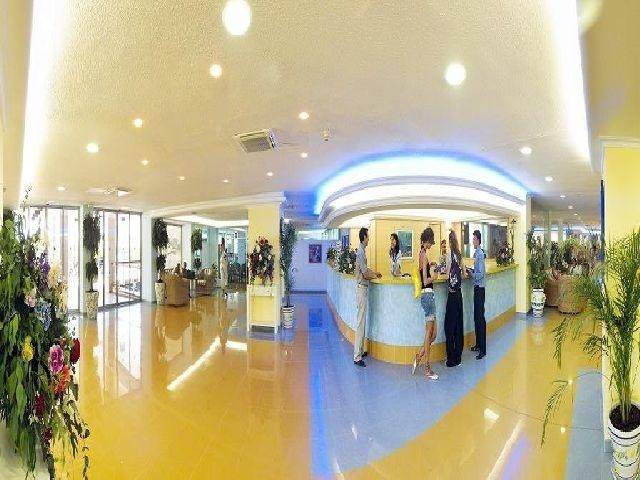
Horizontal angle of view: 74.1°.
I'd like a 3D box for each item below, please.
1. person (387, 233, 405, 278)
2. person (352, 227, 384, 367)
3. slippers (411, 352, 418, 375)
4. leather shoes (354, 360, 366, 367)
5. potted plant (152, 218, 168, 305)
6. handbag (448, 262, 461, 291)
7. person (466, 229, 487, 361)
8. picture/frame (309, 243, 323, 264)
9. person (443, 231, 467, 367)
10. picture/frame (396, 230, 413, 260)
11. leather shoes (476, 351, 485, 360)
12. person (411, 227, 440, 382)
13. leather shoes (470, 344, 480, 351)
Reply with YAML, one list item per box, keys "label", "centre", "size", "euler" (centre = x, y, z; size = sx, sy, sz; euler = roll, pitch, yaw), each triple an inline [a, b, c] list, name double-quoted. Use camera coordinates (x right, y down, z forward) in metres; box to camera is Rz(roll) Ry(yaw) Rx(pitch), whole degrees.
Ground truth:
- label: "person"
  centre: [1.338, 0.268, 7.439]
  size: [0.192, 0.841, 1.002]
  euler: [0, 5, 11]
- label: "person"
  centre: [0.740, 0.894, 7.071]
  size: [0.391, 2.215, 0.733]
  euler: [0, 5, 7]
- label: "slippers"
  centre: [1.466, 1.884, 6.536]
  size: [0.092, 0.310, 0.094]
  euler: [7, 0, -1]
- label: "leather shoes"
  centre: [0.646, 1.978, 6.884]
  size: [0.184, 0.064, 0.173]
  euler: [0, 5, 6]
- label: "potted plant"
  centre: [-4.964, 0.547, 13.151]
  size: [0.461, 2.478, 0.923]
  euler: [-2, 5, -15]
- label: "handbag"
  centre: [2.134, 0.584, 6.804]
  size: [0.227, 0.467, 0.182]
  euler: [3, 6, 38]
- label: "person"
  centre: [2.699, 0.890, 7.247]
  size: [0.274, 2.133, 0.619]
  euler: [1, 5, 20]
- label: "picture/frame"
  centre: [-0.161, 0.481, 15.569]
  size: [0.610, 0.989, 0.095]
  euler: [0, -9, -3]
- label: "person"
  centre: [2.157, 0.900, 6.846]
  size: [0.286, 2.172, 0.448]
  euler: [1, 5, 17]
- label: "picture/frame"
  centre: [2.220, 0.095, 11.218]
  size: [0.707, 1.108, 0.076]
  euler: [-3, 3, -34]
- label: "leather shoes"
  centre: [2.679, 1.919, 7.149]
  size: [0.211, 0.105, 0.079]
  euler: [-8, -10, -40]
- label: "person"
  centre: [1.640, 0.924, 6.606]
  size: [0.378, 2.230, 0.854]
  euler: [1, 5, 15]
- label: "leather shoes"
  centre: [2.732, 1.885, 7.537]
  size: [0.055, 0.130, 0.173]
  euler: [-1, 3, -16]
